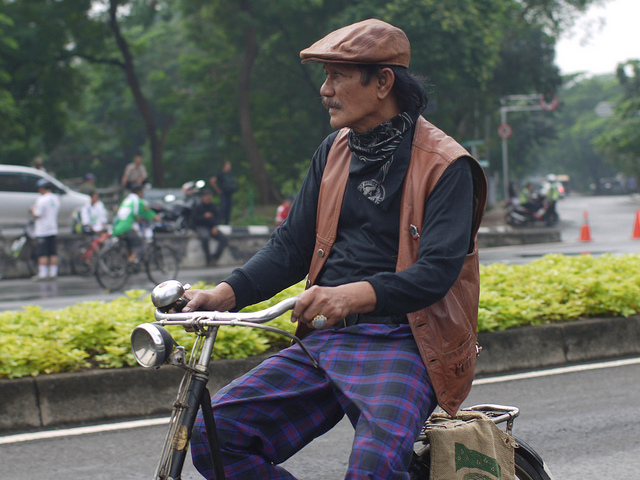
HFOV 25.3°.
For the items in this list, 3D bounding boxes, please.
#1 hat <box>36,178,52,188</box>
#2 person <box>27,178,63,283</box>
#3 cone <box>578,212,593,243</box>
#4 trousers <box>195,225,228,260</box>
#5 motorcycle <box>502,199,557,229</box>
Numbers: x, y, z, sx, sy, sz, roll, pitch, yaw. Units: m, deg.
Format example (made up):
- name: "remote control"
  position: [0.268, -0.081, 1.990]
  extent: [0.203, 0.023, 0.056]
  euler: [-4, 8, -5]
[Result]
- name: "hat"
  position: [-5.503, -1.133, 28.413]
  extent: [0.197, 0.191, 0.196]
  euler: [-4, 12, -9]
- name: "person"
  position: [-5.306, -0.151, 27.649]
  extent: [0.617, 2.016, 1.360]
  euler: [-4, 0, -11]
- name: "cone"
  position: [4.304, -0.191, 23.230]
  extent: [0.197, 0.459, 0.559]
  euler: [-4, 0, 9]
- name: "trousers"
  position: [-2.279, 0.056, 30.059]
  extent: [0.656, 0.728, 0.328]
  euler: [-4, 1, -14]
- name: "motorcycle"
  position: [4.835, -0.558, 32.835]
  extent: [0.918, 0.617, 0.475]
  euler: [1, 2, 22]
